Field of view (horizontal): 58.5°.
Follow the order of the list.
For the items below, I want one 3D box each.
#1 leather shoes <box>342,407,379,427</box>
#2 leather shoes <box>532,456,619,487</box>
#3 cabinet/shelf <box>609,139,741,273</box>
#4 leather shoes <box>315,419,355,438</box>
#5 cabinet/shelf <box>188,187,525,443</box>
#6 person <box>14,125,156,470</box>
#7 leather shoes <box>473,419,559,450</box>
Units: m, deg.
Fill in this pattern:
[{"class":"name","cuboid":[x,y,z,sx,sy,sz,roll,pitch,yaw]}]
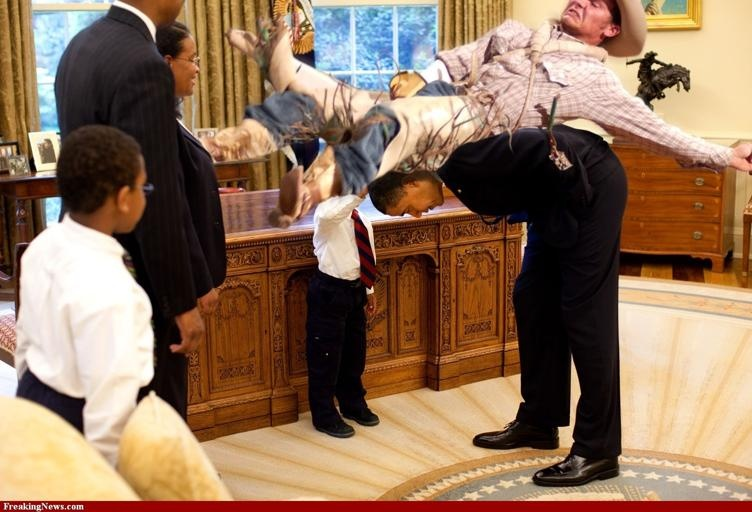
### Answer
[{"class":"leather shoes","cuboid":[-0.087,0.802,3.454,0.198,0.091,0.076,5,11,29]},{"class":"leather shoes","cuboid":[0.833,0.900,2.881,0.351,0.172,0.145,0,4,-4]},{"class":"cabinet/shelf","cuboid":[2.724,-0.567,6.330,0.734,1.196,1.208,-27,23,-38]},{"class":"leather shoes","cuboid":[-0.205,0.851,3.308,0.211,0.093,0.084,5,12,28]},{"class":"cabinet/shelf","cuboid":[-0.175,0.268,3.877,1.982,1.015,0.752,-8,12,-23]},{"class":"person","cuboid":[-0.732,0.096,1.626,0.380,0.757,0.432,-8,21,-19]},{"class":"leather shoes","cuboid":[0.678,0.857,3.271,0.377,0.176,0.159,2,1,2]}]
